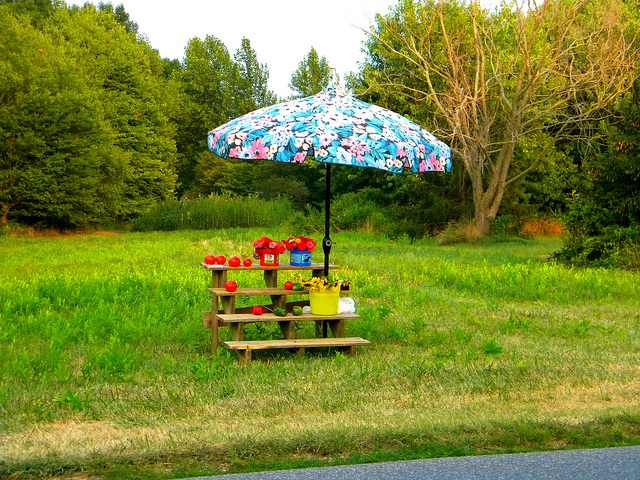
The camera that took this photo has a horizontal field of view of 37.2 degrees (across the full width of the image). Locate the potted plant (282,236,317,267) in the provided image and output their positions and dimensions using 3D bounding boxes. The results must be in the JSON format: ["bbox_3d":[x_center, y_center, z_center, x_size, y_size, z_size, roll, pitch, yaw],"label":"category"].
[{"bbox_3d":[-0.392,0.170,20.409,0.583,0.704,0.780,-1,17,-13],"label":"potted plant"}]

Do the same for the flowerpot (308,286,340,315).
[{"bbox_3d":[0.121,1.288,20.016,0.635,0.538,0.640,1,3,-2],"label":"flowerpot"}]

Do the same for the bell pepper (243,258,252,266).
[{"bbox_3d":[-1.494,0.473,20.035,0.116,0.132,0.128,-2,-1,27],"label":"bell pepper"}]

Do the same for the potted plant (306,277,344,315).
[{"bbox_3d":[0.127,1.186,19.906,0.780,0.736,0.440,-1,15,-8],"label":"potted plant"}]

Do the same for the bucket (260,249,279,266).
[{"bbox_3d":[-1.053,0.376,20.139,0.321,0.273,0.342,1,0,0],"label":"bucket"}]

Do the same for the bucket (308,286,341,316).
[{"bbox_3d":[0.119,1.260,19.817,0.550,0.458,0.581,1,-1,0],"label":"bucket"}]

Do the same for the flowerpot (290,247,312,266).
[{"bbox_3d":[-0.397,0.352,20.165,0.351,0.370,0.372,0,0,19],"label":"flowerpot"}]

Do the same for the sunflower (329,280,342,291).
[{"bbox_3d":[0.339,0.946,19.868,0.182,0.071,0.197,-7,42,-2],"label":"sunflower"}]

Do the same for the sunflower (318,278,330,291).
[{"bbox_3d":[0.097,0.939,19.774,0.171,0.190,0.067,11,-12,2],"label":"sunflower"}]

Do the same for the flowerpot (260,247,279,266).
[{"bbox_3d":[-1.046,0.367,20.145,0.336,0.282,0.354,1,0,27],"label":"flowerpot"}]

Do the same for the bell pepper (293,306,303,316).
[{"bbox_3d":[-0.438,1.478,19.706,0.158,0.163,0.162,1,0,42],"label":"bell pepper"}]

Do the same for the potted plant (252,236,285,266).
[{"bbox_3d":[-1.099,0.233,20.335,0.564,0.473,0.595,2,0,-2],"label":"potted plant"}]

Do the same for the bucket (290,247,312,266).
[{"bbox_3d":[-0.399,0.359,20.169,0.350,0.371,0.374,0,-1,0],"label":"bucket"}]
